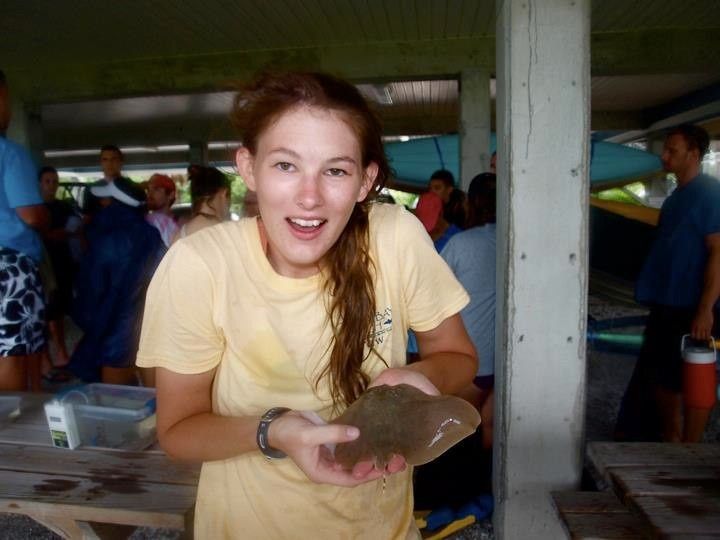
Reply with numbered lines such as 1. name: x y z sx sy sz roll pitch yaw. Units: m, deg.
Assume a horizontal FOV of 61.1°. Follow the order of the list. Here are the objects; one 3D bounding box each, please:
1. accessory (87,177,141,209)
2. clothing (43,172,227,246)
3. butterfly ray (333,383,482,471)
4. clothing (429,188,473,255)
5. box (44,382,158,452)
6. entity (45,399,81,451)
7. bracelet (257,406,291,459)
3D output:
1. accessory: -2.045 -0.649 5.117 0.395 0.121 0.403 16 15 43
2. clothing: -1.722 -0.599 5.191 1.250 0.634 0.804 19 6 -1
3. butterfly ray: 0.188 0.595 2.347 0.430 0.118 0.306 -15 49 -5
4. clothing: 0.879 -0.453 5.669 0.294 0.772 0.252 8 -33 -1
5. box: -1.426 0.835 3.404 0.517 0.232 0.401 5 -2 5
6. entity: -1.630 0.830 3.295 0.202 0.273 0.111 3 9 14
7. bracelet: -0.337 0.644 2.385 0.131 0.198 0.069 0 8 -9
